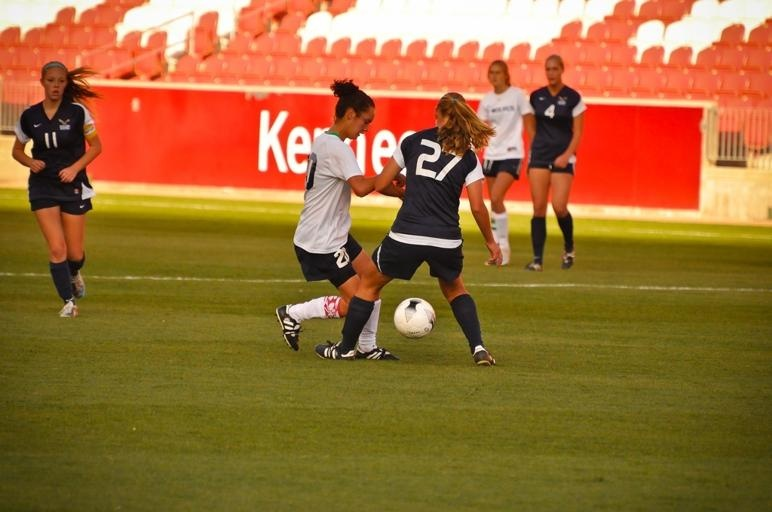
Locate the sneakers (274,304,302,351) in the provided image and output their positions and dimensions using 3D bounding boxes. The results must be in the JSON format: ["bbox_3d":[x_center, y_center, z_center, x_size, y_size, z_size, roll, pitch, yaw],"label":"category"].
[{"bbox_3d":[-0.986,0.735,12.114,0.271,0.528,0.184,-14,10,9],"label":"sneakers"}]

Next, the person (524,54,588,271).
[{"bbox_3d":[2.303,-1.260,15.999,0.743,2.955,0.856,0,9,7],"label":"person"}]

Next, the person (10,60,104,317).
[{"bbox_3d":[-3.607,-0.768,13.034,0.880,2.768,0.840,-3,10,-14],"label":"person"}]

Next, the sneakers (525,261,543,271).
[{"bbox_3d":[2.032,0.129,16.182,0.102,0.111,0.263,2,9,-22],"label":"sneakers"}]

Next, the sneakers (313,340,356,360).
[{"bbox_3d":[-0.523,0.985,11.949,0.425,0.181,0.162,12,-15,12],"label":"sneakers"}]

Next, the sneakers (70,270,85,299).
[{"bbox_3d":[-3.556,0.320,13.575,0.117,0.308,0.137,-10,14,-3],"label":"sneakers"}]

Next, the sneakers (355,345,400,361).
[{"bbox_3d":[-0.093,0.984,12.019,0.454,0.170,0.159,-1,-1,1],"label":"sneakers"}]

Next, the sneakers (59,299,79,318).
[{"bbox_3d":[-3.535,0.585,13.003,0.241,0.227,0.159,-3,-1,8],"label":"sneakers"}]
